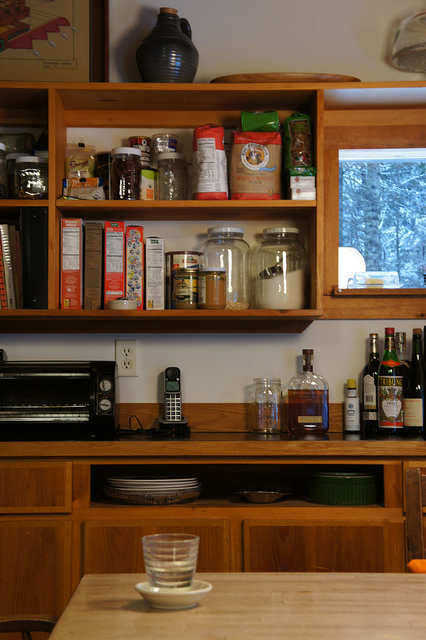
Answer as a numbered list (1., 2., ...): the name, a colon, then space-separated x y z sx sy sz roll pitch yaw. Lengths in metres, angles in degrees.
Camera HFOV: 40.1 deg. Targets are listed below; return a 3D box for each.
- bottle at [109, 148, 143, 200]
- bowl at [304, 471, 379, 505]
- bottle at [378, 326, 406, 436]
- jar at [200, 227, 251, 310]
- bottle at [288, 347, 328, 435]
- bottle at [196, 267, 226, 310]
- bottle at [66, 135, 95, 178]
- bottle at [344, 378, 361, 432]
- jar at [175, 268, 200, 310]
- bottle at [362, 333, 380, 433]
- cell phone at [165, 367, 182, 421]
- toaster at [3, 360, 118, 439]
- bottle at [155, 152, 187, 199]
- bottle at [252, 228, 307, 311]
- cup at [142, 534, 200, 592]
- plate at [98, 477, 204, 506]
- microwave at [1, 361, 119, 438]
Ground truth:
1. bottle: -0.311 -0.528 2.088 0.118 0.208 0.105 1 -3 -8
2. bowl: 0.405 0.531 1.849 0.234 0.093 0.111 0 -3 12
3. bottle: 0.646 0.214 2.108 0.095 0.374 0.193 0 -3 18
4. jar: 0.047 -0.202 2.208 0.165 0.324 0.141 1 4 -12
5. bottle: 0.348 0.253 2.150 0.140 0.296 0.217 0 -3 7
6. bottle: -0.006 -0.108 2.062 0.115 0.163 0.114 0 -2 0
7. bottle: -0.494 -0.613 2.141 0.115 0.184 0.105 7 36 -5
8. bottle: 0.521 0.316 2.190 0.058 0.189 0.112 0 -3 13
9. jar: -0.084 -0.111 2.084 0.103 0.158 0.102 -1 2 0
10. bottle: 0.591 0.231 2.190 0.062 0.362 0.166 0 -3 14
11. cell phone: -0.145 0.265 2.128 0.058 0.184 0.110 1 -3 -5
12. toaster: -0.503 0.262 1.931 0.391 0.237 0.238 0 -17 -1
13. bottle: -0.175 -0.524 2.223 0.153 0.208 0.151 -1 9 0
14. bottle: 0.255 -0.187 2.179 0.201 0.306 0.191 -2 5 0
15. cup: -0.052 0.302 0.727 0.075 0.062 0.081 -1 -14 0
16. plate: -0.193 0.535 1.821 0.300 0.081 0.095 1 -3 -3
17. microwave: -0.493 0.270 1.926 0.384 0.258 0.271 0 -15 -2
